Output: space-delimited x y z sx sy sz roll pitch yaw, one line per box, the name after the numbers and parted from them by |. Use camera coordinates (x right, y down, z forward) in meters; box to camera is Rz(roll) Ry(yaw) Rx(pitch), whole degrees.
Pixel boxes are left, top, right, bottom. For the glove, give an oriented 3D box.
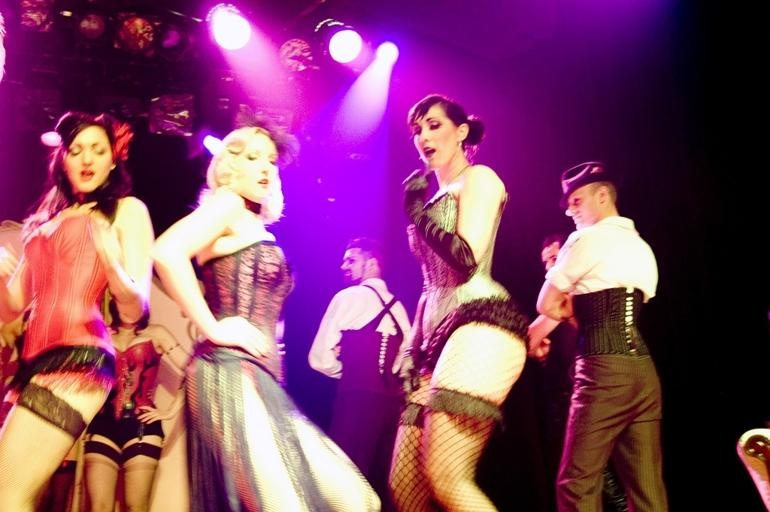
0.389 -0.204 3.924 0.130 0.561 0.371 -20 2 -35 | glove

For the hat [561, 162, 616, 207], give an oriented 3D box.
1.483 -0.570 4.769 0.362 0.154 0.317 -22 -27 -20 | hat
